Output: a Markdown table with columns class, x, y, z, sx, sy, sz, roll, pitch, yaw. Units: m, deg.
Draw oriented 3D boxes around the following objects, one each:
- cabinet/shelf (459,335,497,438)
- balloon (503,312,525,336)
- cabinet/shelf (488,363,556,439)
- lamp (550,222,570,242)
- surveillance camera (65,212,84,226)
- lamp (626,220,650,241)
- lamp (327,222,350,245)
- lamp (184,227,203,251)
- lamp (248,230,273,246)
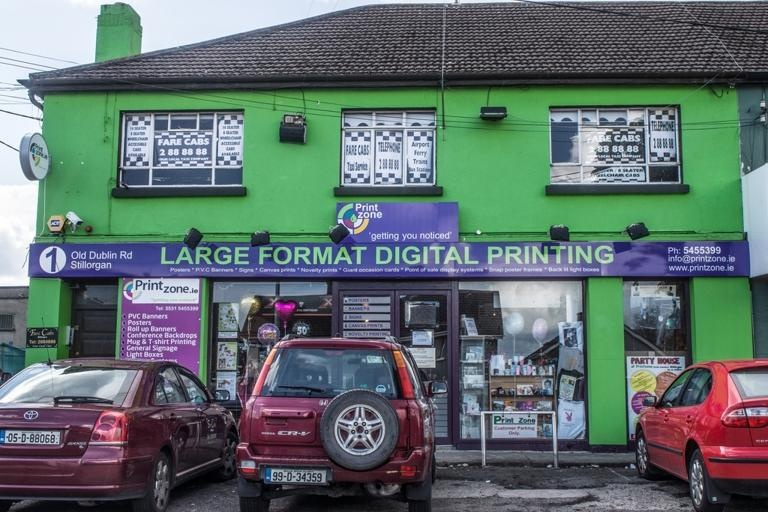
| class | x | y | z | sx | sy | sz | roll | pitch | yaw |
| --- | --- | --- | --- | --- | --- | --- | --- | --- | --- |
| cabinet/shelf | 2.066 | 2.895 | 19.676 | 0.704 | 2.259 | 0.336 | 1 | -3 | 5 |
| balloon | 2.928 | 1.510 | 19.909 | 0.516 | 0.572 | 0.496 | -1 | -1 | -6 |
| cabinet/shelf | 3.091 | 3.246 | 19.547 | 1.634 | 1.716 | 0.575 | 0 | -14 | 1 |
| lamp | 3.883 | -0.525 | 19.498 | 0.586 | 0.390 | 0.317 | 1 | 3 | 5 |
| surveillance camera | -6.973 | -0.869 | 19.994 | 0.358 | 0.266 | 0.156 | 28 | -61 | -33 |
| lamp | 5.635 | -0.571 | 19.542 | 0.527 | 0.383 | 0.340 | 1 | -3 | 8 |
| lamp | -0.965 | -0.502 | 19.698 | 0.375 | 0.372 | 0.208 | -36 | 2 | 9 |
| lamp | -4.241 | -0.400 | 19.860 | 0.418 | 0.488 | 0.237 | 2 | -3 | -17 |
| lamp | -2.721 | -0.405 | 19.859 | 0.435 | 0.352 | 0.101 | -2 | 0 | 3 |
